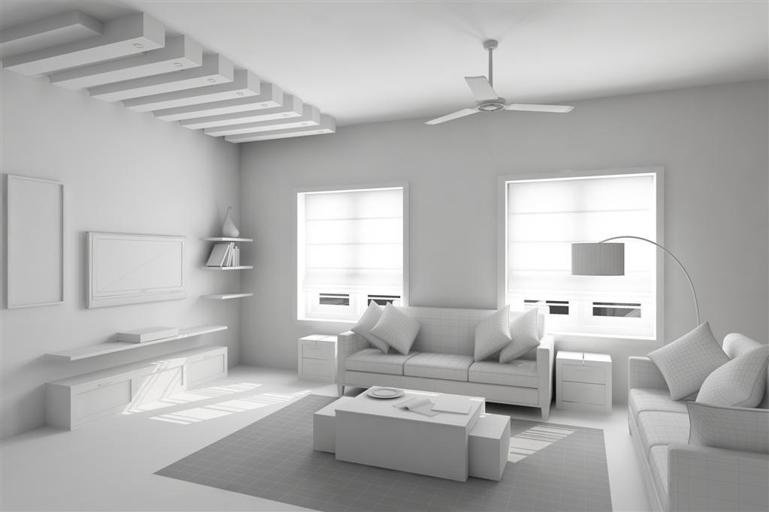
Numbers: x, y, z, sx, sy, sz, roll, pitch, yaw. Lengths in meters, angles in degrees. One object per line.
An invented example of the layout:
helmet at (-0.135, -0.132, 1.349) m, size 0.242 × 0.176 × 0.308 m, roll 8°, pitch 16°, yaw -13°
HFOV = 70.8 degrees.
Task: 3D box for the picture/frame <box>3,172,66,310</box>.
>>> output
picture/frame at (-3.652, -0.160, 5.654) m, size 0.726 × 1.365 × 0.304 m, roll -13°, pitch 19°, yaw -40°

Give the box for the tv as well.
tv at (-2.964, 0.133, 6.560) m, size 1.385 × 0.855 × 0.059 m, roll -2°, pitch -2°, yaw 12°

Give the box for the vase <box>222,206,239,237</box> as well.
vase at (-2.206, -0.470, 7.703) m, size 0.241 × 0.436 × 0.541 m, roll -4°, pitch 14°, yaw -15°

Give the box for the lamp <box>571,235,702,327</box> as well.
lamp at (2.762, 0.249, 6.264) m, size 1.552 × 0.988 × 0.879 m, roll -4°, pitch 14°, yaw -15°

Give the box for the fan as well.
fan at (1.177, -1.771, 5.337) m, size 1.232 × 0.682 × 1.484 m, roll -1°, pitch -3°, yaw -2°

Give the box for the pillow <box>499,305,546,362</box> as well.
pillow at (1.619, 0.939, 6.362) m, size 0.468 × 0.593 × 0.551 m, roll 4°, pitch 14°, yaw 16°

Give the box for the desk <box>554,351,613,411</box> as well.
desk at (2.255, 1.522, 6.289) m, size 0.652 × 0.572 × 0.372 m, roll 4°, pitch -14°, yaw 3°

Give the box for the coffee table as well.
coffee table at (0.492, 1.802, 5.348) m, size 1.283 × 0.523 × 1.022 m, roll 4°, pitch -16°, yaw 43°

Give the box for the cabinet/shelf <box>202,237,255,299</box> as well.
cabinet/shelf at (-2.211, 0.165, 7.726) m, size 0.332 × 0.829 × 0.956 m, roll 0°, pitch 0°, yaw 15°

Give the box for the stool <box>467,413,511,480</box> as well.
stool at (1.016, 1.736, 5.080) m, size 0.393 × 0.431 × 0.717 m, roll -1°, pitch -1°, yaw 22°

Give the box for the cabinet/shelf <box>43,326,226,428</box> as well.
cabinet/shelf at (-2.870, 1.506, 6.378) m, size 0.402 × 0.598 × 1.946 m, roll 11°, pitch 17°, yaw 37°
